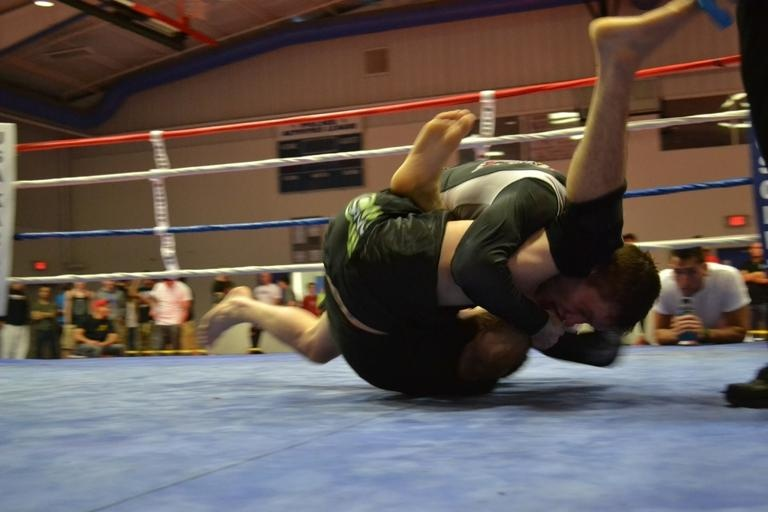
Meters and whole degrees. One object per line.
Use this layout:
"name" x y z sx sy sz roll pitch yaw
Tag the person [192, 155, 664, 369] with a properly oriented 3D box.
"person" 0.122 0.074 2.304 1.601 0.494 0.607 5 -6 37
